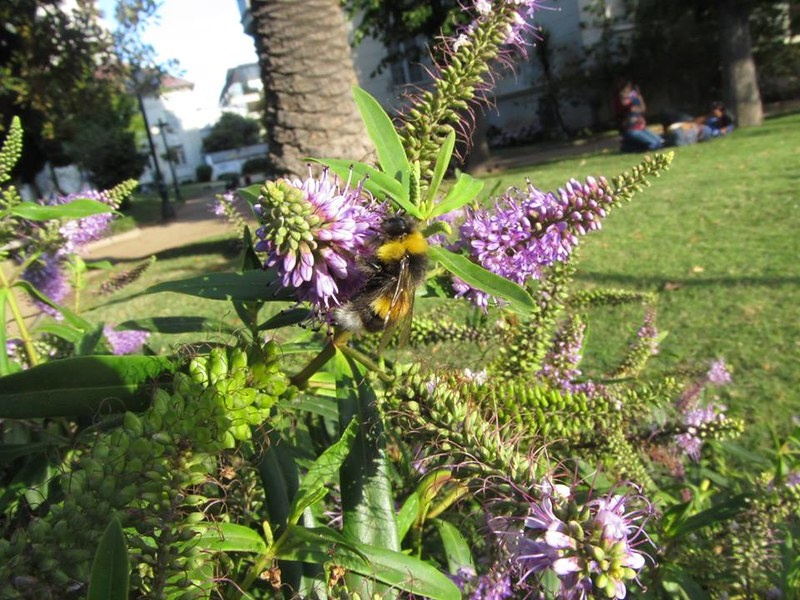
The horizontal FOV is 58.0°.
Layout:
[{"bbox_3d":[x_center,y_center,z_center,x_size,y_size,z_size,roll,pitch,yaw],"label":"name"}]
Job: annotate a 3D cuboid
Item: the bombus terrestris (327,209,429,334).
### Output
[{"bbox_3d":[-0.051,-0.047,1.745,0.095,0.324,0.191,2,-10,29],"label":"bombus terrestris"}]
